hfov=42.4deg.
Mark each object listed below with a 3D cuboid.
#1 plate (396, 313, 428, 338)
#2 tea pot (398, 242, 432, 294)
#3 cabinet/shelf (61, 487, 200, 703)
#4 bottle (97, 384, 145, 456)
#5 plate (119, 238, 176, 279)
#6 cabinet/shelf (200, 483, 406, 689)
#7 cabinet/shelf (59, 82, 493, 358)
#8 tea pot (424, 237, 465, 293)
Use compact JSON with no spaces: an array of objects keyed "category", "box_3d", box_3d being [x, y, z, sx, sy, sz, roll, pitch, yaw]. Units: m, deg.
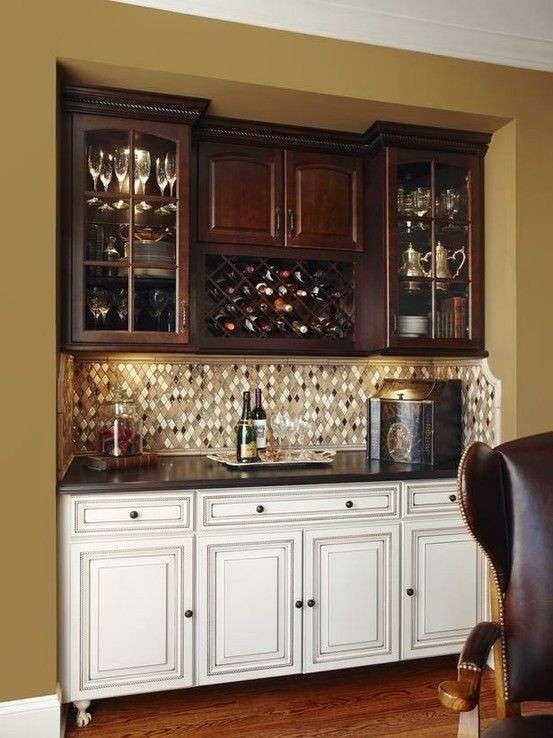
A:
[{"category":"plate","box_3d":[0.585,-0.182,3.037,0.103,0.075,0.101,1,0,-28]},{"category":"tea pot","box_3d":[0.586,-0.430,3.053,0.194,0.252,0.161,1,-4,5]},{"category":"cabinet/shelf","box_3d":[-0.569,0.812,2.606,0.475,0.677,0.303,5,-16,-30]},{"category":"bottle","box_3d":[-0.648,0.215,2.928,0.171,0.282,0.169,-1,0,0]},{"category":"plate","box_3d":[-0.497,-0.410,2.765,0.153,0.115,0.162,1,0,41]},{"category":"cabinet/shelf","box_3d":[0.063,0.789,2.780,0.796,0.693,0.300,0,0,-17]},{"category":"cabinet/shelf","box_3d":[0.013,-0.551,3.006,1.767,0.976,0.376,0,2,-16]},{"category":"tea pot","box_3d":[0.745,-0.453,3.110,0.151,0.171,0.086,0,7,5]}]
